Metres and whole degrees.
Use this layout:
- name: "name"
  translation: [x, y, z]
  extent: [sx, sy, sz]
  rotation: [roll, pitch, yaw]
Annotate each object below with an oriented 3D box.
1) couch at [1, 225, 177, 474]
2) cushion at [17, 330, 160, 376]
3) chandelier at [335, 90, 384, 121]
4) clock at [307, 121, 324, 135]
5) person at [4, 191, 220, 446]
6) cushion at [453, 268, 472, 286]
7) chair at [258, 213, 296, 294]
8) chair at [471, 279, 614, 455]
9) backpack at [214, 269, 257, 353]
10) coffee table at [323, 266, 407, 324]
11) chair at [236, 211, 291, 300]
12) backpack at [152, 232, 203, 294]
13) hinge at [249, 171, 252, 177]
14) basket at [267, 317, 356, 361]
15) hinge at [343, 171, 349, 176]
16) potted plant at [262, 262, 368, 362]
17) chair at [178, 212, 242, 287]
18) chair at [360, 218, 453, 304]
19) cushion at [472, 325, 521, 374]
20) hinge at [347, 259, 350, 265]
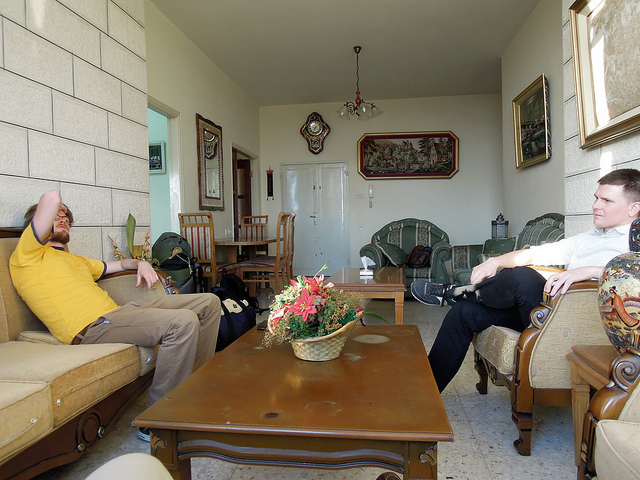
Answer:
- name: "couch"
  translation: [-1.167, 0.558, 2.115]
  extent: [0.580, 0.783, 1.123]
  rotation: [1, 4, 1]
- name: "cushion"
  translation: [-1.383, 0.583, 2.276]
  extent: [0.379, 0.125, 0.377]
  rotation: [1, -7, 11]
- name: "chandelier"
  translation: [0.514, -1.869, 5.679]
  extent: [0.591, 0.417, 0.620]
  rotation: [1, 25, 5]
- name: "clock"
  translation: [-0.081, -1.897, 7.218]
  extent: [0.284, 0.222, 0.068]
  rotation: [3, 13, 21]
- name: "person"
  translation: [-1.322, 0.390, 3.096]
  extent: [1.320, 1.724, 1.037]
  rotation: [-7, -1, 0]
- name: "cushion"
  translation: [1.401, 0.367, 4.190]
  extent: [0.124, 0.051, 0.223]
  rotation: [-4, 7, 8]
- name: "chair"
  translation: [-0.654, 0.199, 5.409]
  extent: [0.649, 1.022, 0.639]
  rotation: [-2, 12, -22]
- name: "chair"
  translation: [1.285, 0.569, 2.399]
  extent: [0.748, 0.952, 0.780]
  rotation: [1, 4, 8]
- name: "backpack"
  translation: [-0.728, 0.574, 3.646]
  extent: [0.322, 0.444, 1.003]
  rotation: [-4, 12, -11]
- name: "coffee table"
  translation: [0.400, 0.495, 3.765]
  extent: [0.659, 0.479, 1.296]
  rotation: [0, 12, 9]
- name: "chair"
  translation: [-0.641, 0.173, 5.735]
  extent: [0.615, 1.078, 0.627]
  rotation: [1, 7, 0]
- name: "backpack"
  translation: [-1.406, 0.271, 4.196]
  extent: [0.483, 0.656, 0.446]
  rotation: [-9, -10, 42]
- name: "hinge"
  translation: [-1.199, -1.141, 7.330]
  extent: [0.070, 0.069, 0.017]
  rotation: [0, 5, -34]
- name: "basket"
  translation: [-0.012, 0.459, 2.003]
  extent: [0.341, 0.176, 0.346]
  rotation: [-6, -4, 33]
- name: "hinge"
  translation: [0.447, -1.125, 7.212]
  extent: [0.058, 0.061, 0.108]
  rotation: [-3, 1, 13]
- name: "potted plant"
  translation: [-0.039, 0.321, 2.083]
  extent: [0.395, 0.345, 0.450]
  rotation: [0, 0, -2]
- name: "chair"
  translation: [-1.242, 0.233, 4.780]
  extent: [0.539, 1.080, 0.594]
  rotation: [0, 3, 8]
- name: "chair"
  translation: [1.180, 0.283, 5.818]
  extent: [1.149, 1.256, 1.049]
  rotation: [-2, -2, 8]
- name: "cushion"
  translation: [0.924, 0.581, 2.274]
  extent: [0.191, 0.101, 0.207]
  rotation: [1, 3, 37]
- name: "hinge"
  translation: [0.476, 0.374, 7.304]
  extent: [0.051, 0.059, 0.013]
  rotation: [0, 4, 30]
